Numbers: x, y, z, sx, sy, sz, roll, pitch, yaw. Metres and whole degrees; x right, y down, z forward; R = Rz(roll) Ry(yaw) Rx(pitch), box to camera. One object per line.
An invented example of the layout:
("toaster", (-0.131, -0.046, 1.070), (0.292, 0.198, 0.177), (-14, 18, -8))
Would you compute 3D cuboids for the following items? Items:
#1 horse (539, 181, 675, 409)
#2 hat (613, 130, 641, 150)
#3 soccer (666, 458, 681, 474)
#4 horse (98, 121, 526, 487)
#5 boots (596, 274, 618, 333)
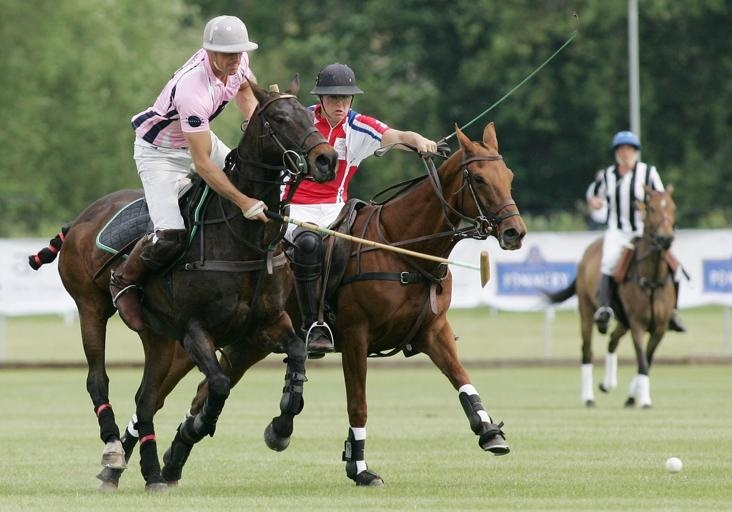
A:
("horse", (3.978, 0.618, 21.663), (1.366, 3.535, 2.384), (-3, 10, -10))
("hat", (3.952, -1.786, 21.460), (0.300, 0.189, 0.380), (2, 7, -1))
("soccer", (3.732, 2.538, 17.089), (0.177, 0.160, 0.167), (5, 25, 8))
("horse", (-0.622, 1.009, 18.284), (6.734, 4.016, 1.670), (-10, -15, 37))
("boots", (3.657, 0.733, 21.577), (0.287, 0.876, 0.441), (5, -23, -2))
